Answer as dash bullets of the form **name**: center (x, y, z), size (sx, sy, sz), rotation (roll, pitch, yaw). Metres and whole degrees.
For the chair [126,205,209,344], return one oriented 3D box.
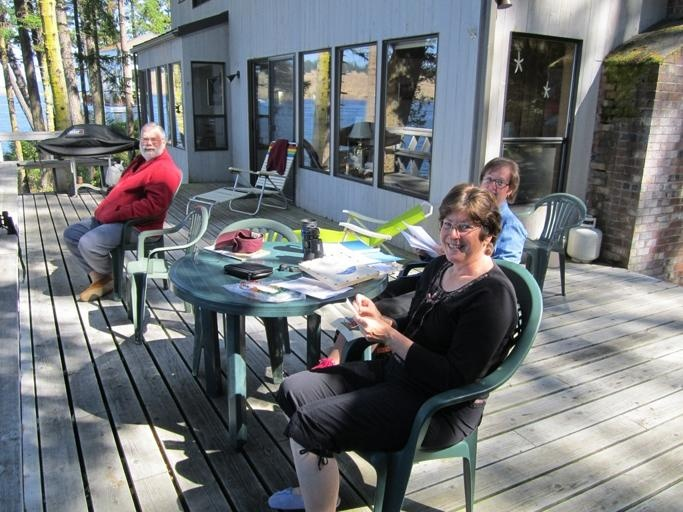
- **chair**: center (-1.373, 0.158, 3.784), size (0.730, 1.125, 0.828), rotation (-1, 26, -26)

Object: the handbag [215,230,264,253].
- **handbag**: center (-0.641, -0.097, 3.054), size (0.236, 0.091, 0.168), rotation (11, 16, 12)

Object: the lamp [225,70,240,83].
- **lamp**: center (-2.201, -3.709, 10.008), size (0.232, 0.122, 0.316), rotation (6, 14, 23)

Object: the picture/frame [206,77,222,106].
- **picture/frame**: center (-2.702, -3.554, 10.471), size (0.325, 0.605, 0.080), rotation (-2, 17, -14)

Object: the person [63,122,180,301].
- **person**: center (-2.043, -0.419, 4.587), size (0.938, 1.679, 0.742), rotation (2, 16, -34)

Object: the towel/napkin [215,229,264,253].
- **towel/napkin**: center (-0.638, -0.098, 3.054), size (0.236, 0.092, 0.169), rotation (10, 16, 12)

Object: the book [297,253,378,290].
- **book**: center (-0.023, 0.076, 2.668), size (0.251, 0.034, 0.231), rotation (-19, 30, -39)
